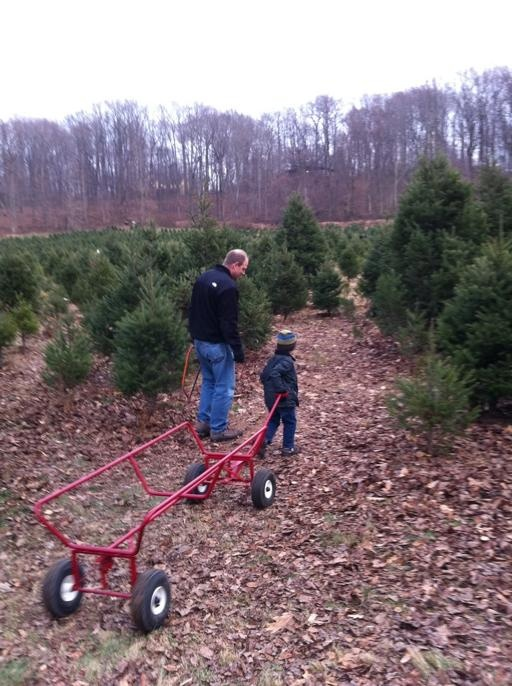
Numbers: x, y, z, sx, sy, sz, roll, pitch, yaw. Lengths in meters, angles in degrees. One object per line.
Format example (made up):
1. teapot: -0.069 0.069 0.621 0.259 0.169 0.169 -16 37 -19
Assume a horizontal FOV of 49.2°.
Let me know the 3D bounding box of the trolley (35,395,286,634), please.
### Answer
1. trolley: -0.622 1.132 4.672 0.823 1.010 2.929 2 12 23

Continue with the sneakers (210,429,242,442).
1. sneakers: -0.360 1.118 6.789 0.369 0.170 0.131 -3 9 -19

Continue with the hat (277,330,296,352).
1. hat: 0.338 -0.013 6.145 0.193 0.231 0.221 6 17 16

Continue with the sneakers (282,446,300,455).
1. sneakers: 0.388 1.200 6.269 0.160 0.074 0.077 -7 13 -14

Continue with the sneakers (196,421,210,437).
1. sneakers: -0.636 1.042 6.750 0.239 0.120 0.087 -10 16 -43

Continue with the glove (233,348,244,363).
1. glove: -0.195 0.129 6.377 0.111 0.150 0.149 0 9 16
